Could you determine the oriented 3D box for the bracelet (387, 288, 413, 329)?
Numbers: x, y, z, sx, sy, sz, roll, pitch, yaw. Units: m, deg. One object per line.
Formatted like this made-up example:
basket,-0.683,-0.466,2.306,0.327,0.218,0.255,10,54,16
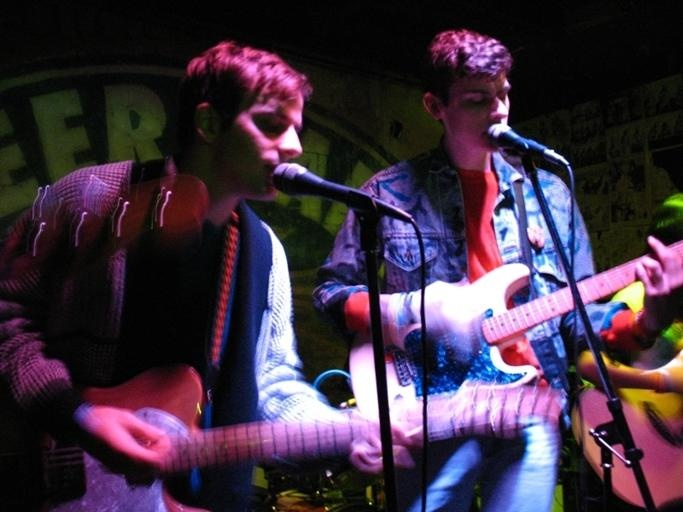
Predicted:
bracelet,0.240,0.225,2.849,0.092,0.146,0.045,1,-11,6
